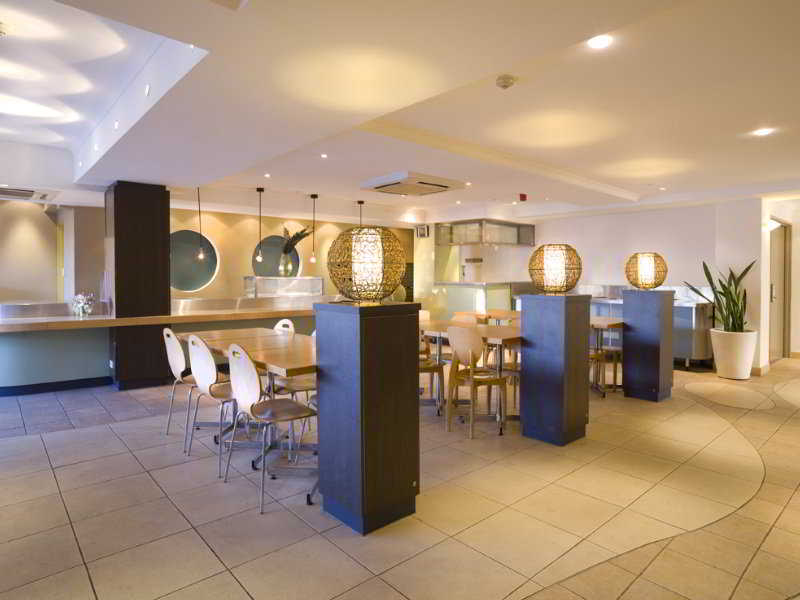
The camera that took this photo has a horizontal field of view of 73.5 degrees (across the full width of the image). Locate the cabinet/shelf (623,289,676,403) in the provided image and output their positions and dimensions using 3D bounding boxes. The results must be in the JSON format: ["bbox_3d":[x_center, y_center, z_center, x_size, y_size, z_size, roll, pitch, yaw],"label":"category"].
[{"bbox_3d":[2.874,0.499,6.207,0.587,1.261,0.349,4,10,22],"label":"cabinet/shelf"}]

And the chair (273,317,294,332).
[{"bbox_3d":[-1.449,0.287,6.558,0.147,0.186,0.141,2,-2,-5],"label":"chair"}]

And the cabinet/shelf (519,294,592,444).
[{"bbox_3d":[1.401,0.603,4.895,0.641,1.346,0.398,2,10,14],"label":"cabinet/shelf"}]

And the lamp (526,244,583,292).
[{"bbox_3d":[1.481,-0.317,5.029,0.451,0.428,0.448,-4,-3,43],"label":"lamp"}]

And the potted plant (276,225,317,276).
[{"bbox_3d":[-1.932,-0.923,9.728,0.687,0.911,0.893,8,-11,-30],"label":"potted plant"}]

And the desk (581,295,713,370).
[{"bbox_3d":[3.879,0.405,8.334,1.382,0.867,0.455,11,9,29],"label":"desk"}]

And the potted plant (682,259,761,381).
[{"bbox_3d":[4.622,0.229,7.639,0.875,1.557,0.975,-6,11,-34],"label":"potted plant"}]

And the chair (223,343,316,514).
[{"bbox_3d":[-1.110,0.829,4.342,0.688,1.102,1.435,-3,9,-16],"label":"chair"}]

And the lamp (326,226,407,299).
[{"bbox_3d":[-0.232,-0.245,3.616,0.498,0.469,0.503,0,-2,-5],"label":"lamp"}]
